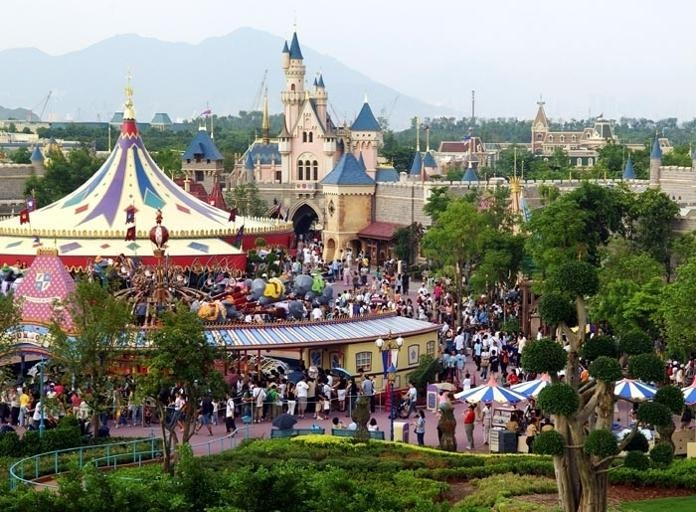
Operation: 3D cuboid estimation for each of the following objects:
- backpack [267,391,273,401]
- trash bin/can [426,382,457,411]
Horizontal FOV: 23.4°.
[{"bbox_3d":[-2.068,3.940,46.366,0.197,0.223,0.121,-1,2,2],"label":"backpack"},{"bbox_3d":[2.640,3.967,47.406,0.674,0.880,0.952,-1,0,42],"label":"trash bin/can"}]
